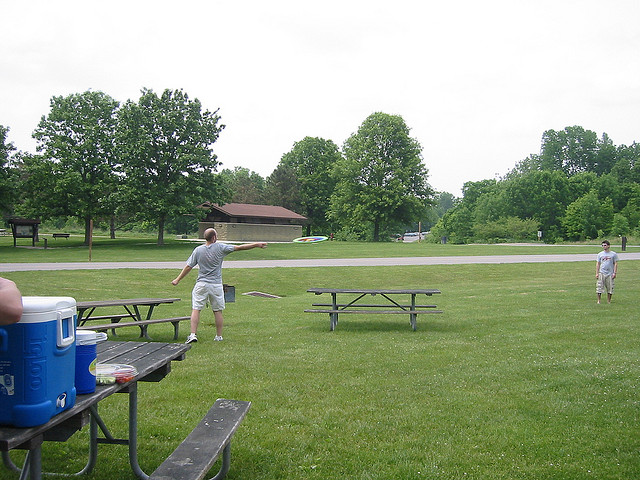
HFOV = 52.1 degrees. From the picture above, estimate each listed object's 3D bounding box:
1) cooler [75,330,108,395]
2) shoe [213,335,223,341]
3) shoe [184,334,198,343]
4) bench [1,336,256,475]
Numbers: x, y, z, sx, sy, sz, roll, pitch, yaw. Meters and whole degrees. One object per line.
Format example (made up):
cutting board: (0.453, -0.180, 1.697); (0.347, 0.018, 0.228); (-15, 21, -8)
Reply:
cooler: (-2.367, 1.206, 6.689); (0.303, 0.553, 0.346); (-1, 7, -21)
shoe: (-2.089, 2.011, 13.423); (0.183, 0.080, 0.072); (2, -1, 38)
shoe: (-2.592, 1.964, 13.080); (0.111, 0.130, 0.321); (9, -17, -44)
bench: (-2.225, 2.062, 7.373); (2.086, 0.948, 2.053); (0, -1, 16)
